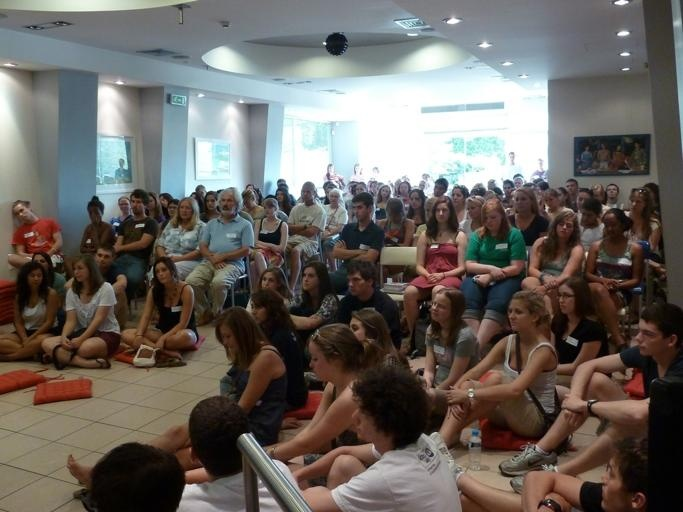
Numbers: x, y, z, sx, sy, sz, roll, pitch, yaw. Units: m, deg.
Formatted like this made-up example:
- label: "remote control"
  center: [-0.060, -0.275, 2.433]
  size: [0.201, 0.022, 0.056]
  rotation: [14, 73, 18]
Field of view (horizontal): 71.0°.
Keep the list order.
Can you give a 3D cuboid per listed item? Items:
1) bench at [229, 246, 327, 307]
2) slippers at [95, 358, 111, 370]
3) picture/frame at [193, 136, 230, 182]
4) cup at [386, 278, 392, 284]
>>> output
- label: "bench"
  center: [-0.581, 0.333, 5.257]
  size: [0.970, 0.432, 0.981]
  rotation: [2, -7, 35]
- label: "slippers"
  center: [-2.584, 1.177, 5.204]
  size: [0.104, 0.139, 0.137]
  rotation: [6, -3, -28]
- label: "picture/frame"
  center: [-3.386, -2.519, 12.382]
  size: [0.054, 0.943, 1.334]
  rotation: [1, 4, 26]
- label: "cup"
  center: [0.603, 0.318, 6.138]
  size: [0.063, 0.117, 0.061]
  rotation: [1, -2, 0]
